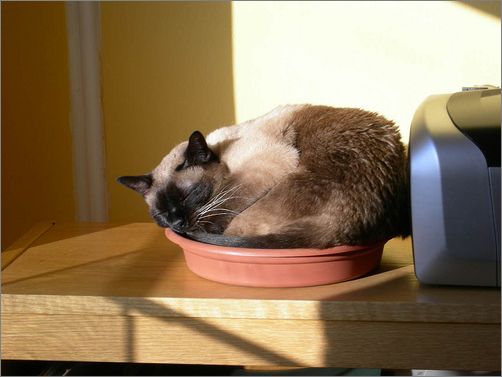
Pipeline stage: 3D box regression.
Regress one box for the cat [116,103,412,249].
[{"bbox_3d":[0.045,-0.011,0.871,0.328,0.141,0.245,-8,23,-5],"label":"cat"}]
